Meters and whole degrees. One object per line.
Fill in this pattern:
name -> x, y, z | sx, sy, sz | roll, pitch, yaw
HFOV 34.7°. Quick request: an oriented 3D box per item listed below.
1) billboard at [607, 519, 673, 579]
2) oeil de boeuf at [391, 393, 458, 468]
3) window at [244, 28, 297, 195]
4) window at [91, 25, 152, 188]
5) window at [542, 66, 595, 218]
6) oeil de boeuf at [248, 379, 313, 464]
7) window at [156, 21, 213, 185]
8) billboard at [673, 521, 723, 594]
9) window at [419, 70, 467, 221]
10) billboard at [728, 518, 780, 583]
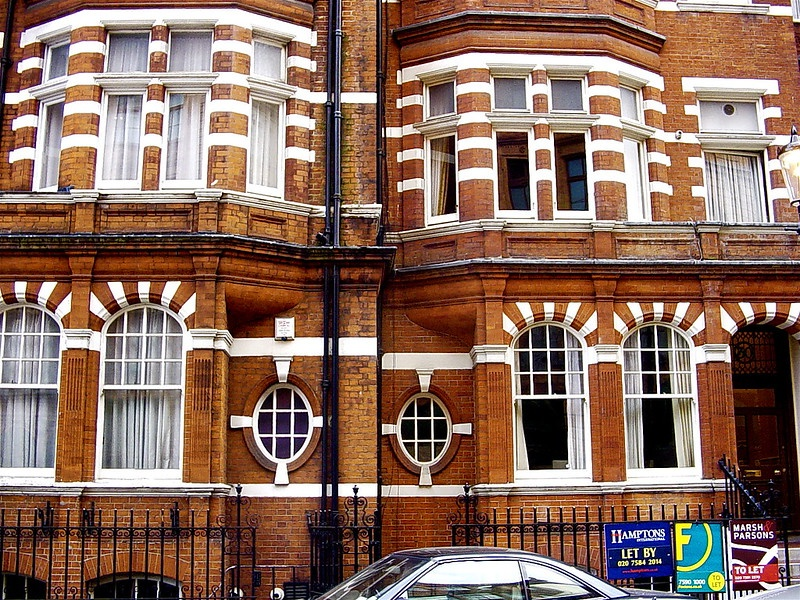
billboard -> 3.977, 4.155, 21.266 | 0.884, 0.787, 0.143 | 0, -13, -1
oeil de boeuf -> 0.497, 2.698, 26.045 | 1.403, 2.011, 0.110 | 1, -19, -3
window -> -2.683, -3.782, 25.851 | 1.138, 0.428, 3.767 | 3, -52, -4
window -> -5.465, -3.811, 25.325 | 0.895, 3.178, 0.711 | 2, -18, -10
window -> 3.504, -3.057, 26.602 | 1.144, 3.828, 0.377 | 2, -30, -2
oeil de boeuf -> -2.360, 2.416, 25.109 | 1.546, 2.227, 0.111 | 1, -18, -4
window -> -4.272, -3.728, 25.665 | 1.278, 0.238, 4.281 | -3, -46, -17
billboard -> 4.936, 4.315, 21.272 | 1.112, 1.555, 0.127 | 1, -11, -4
window -> 0.883, -3.202, 26.852 | 1.009, 3.476, 0.455 | -7, -24, 15
billboard -> 5.890, 4.224, 21.474 | 0.992, 1.362, 0.060 | 3, -15, -11
